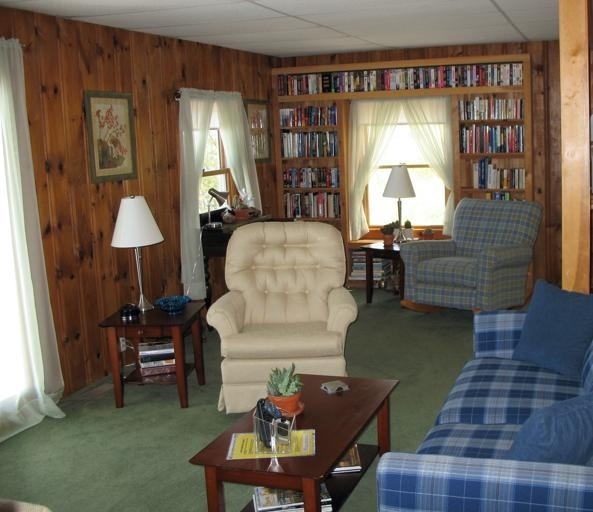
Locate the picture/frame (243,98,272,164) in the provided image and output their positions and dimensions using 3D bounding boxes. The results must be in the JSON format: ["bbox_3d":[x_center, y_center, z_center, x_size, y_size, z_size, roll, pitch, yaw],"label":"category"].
[{"bbox_3d":[-0.489,-1.530,6.169,0.068,0.966,0.855,-1,9,20],"label":"picture/frame"}]

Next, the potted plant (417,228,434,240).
[{"bbox_3d":[1.569,-0.268,6.103,0.164,0.139,0.188,0,-3,3],"label":"potted plant"}]

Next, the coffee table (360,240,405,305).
[{"bbox_3d":[0.958,0.163,5.847,0.524,0.662,0.653,0,2,17],"label":"coffee table"}]

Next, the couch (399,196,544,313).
[{"bbox_3d":[1.864,-0.033,5.403,1.136,1.124,1.143,-7,8,-41],"label":"couch"}]

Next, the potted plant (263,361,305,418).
[{"bbox_3d":[-0.068,0.620,2.301,0.170,0.206,0.178,-6,3,16],"label":"potted plant"}]

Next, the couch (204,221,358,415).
[{"bbox_3d":[-0.069,0.407,3.622,1.050,1.220,1.121,1,8,20],"label":"couch"}]

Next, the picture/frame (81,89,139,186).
[{"bbox_3d":[-1.514,-0.959,4.066,0.053,0.825,0.799,-1,5,19],"label":"picture/frame"}]

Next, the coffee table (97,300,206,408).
[{"bbox_3d":[-1.036,0.697,3.756,0.633,0.666,0.523,-2,9,5],"label":"coffee table"}]

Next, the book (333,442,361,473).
[{"bbox_3d":[0.247,0.950,2.351,0.152,0.041,0.171,-4,9,9],"label":"book"}]

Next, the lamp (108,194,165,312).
[{"bbox_3d":[-1.199,-0.031,3.859,0.354,0.848,0.553,-5,9,-17],"label":"lamp"}]

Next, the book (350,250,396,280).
[{"bbox_3d":[0.904,0.117,6.487,0.573,0.339,0.649,4,5,26],"label":"book"}]
